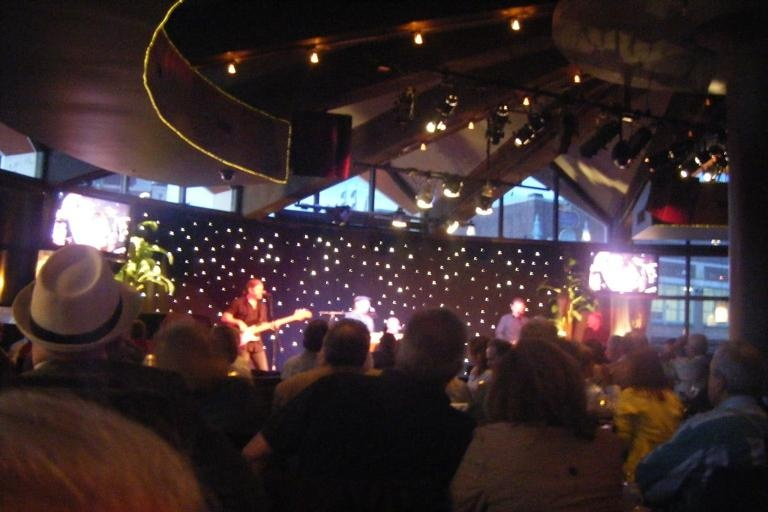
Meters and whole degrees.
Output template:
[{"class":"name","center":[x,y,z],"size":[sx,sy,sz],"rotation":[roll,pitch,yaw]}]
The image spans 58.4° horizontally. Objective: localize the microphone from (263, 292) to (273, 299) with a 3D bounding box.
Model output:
[{"class":"microphone","center":[-1.697,0.577,9.976],"size":[0.132,0.135,0.036],"rotation":[-4,21,16]}]

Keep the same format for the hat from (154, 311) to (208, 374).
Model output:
[{"class":"hat","center":[-1.201,0.518,4.072],"size":[0.199,0.366,0.259],"rotation":[-4,-26,19]}]

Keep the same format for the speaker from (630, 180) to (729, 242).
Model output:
[{"class":"speaker","center":[4.471,-0.612,10.336],"size":[1.148,0.737,1.140],"rotation":[1,-7,-7]}]

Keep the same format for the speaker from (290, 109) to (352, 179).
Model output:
[{"class":"speaker","center":[-0.634,-1.096,6.828],"size":[0.637,0.676,0.219],"rotation":[8,-6,-15]}]
